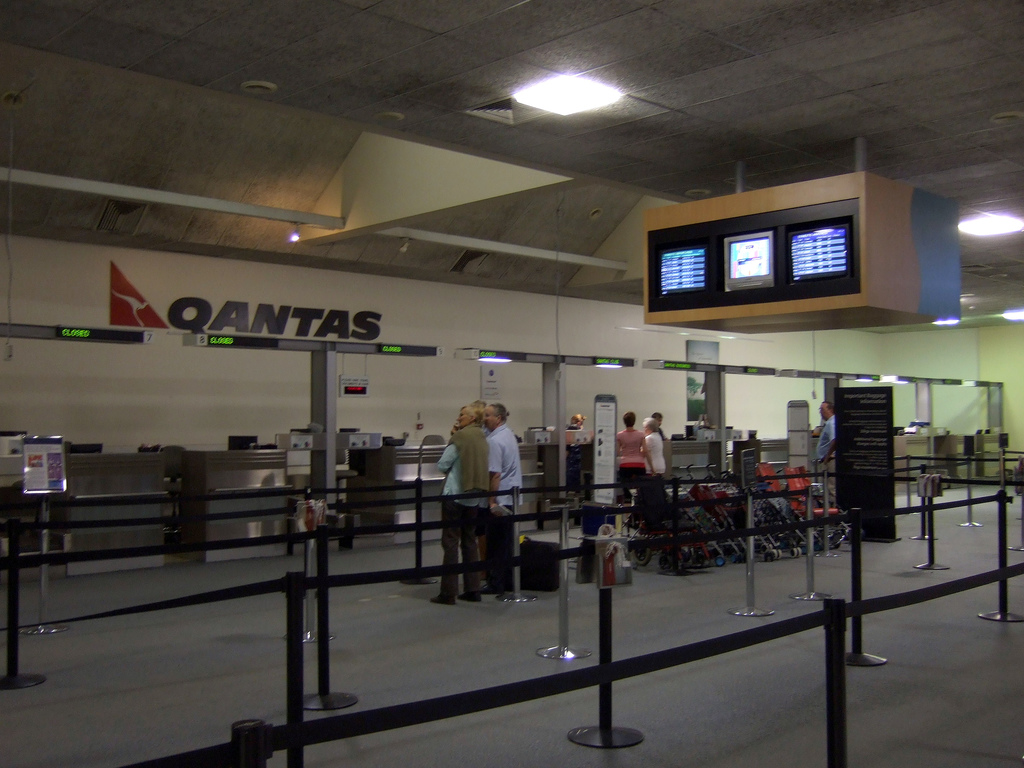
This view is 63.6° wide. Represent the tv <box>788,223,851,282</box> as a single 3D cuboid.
[{"bbox_3d":[2.549,-1.079,6.772,0.209,0.444,0.578,-4,2,-43],"label":"tv"}]

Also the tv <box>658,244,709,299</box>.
[{"bbox_3d":[1.602,-1.039,7.601,0.603,0.488,0.317,-1,-3,42],"label":"tv"}]

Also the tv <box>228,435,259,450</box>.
[{"bbox_3d":[-3.930,0.859,12.073,0.445,0.235,0.218,1,0,-6],"label":"tv"}]

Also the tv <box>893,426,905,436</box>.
[{"bbox_3d":[10.257,1.240,21.809,0.247,0.204,2.632,-1,-2,26],"label":"tv"}]

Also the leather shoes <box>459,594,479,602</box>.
[{"bbox_3d":[-0.407,2.118,8.207,0.205,0.073,0.154,0,-2,-1],"label":"leather shoes"}]
